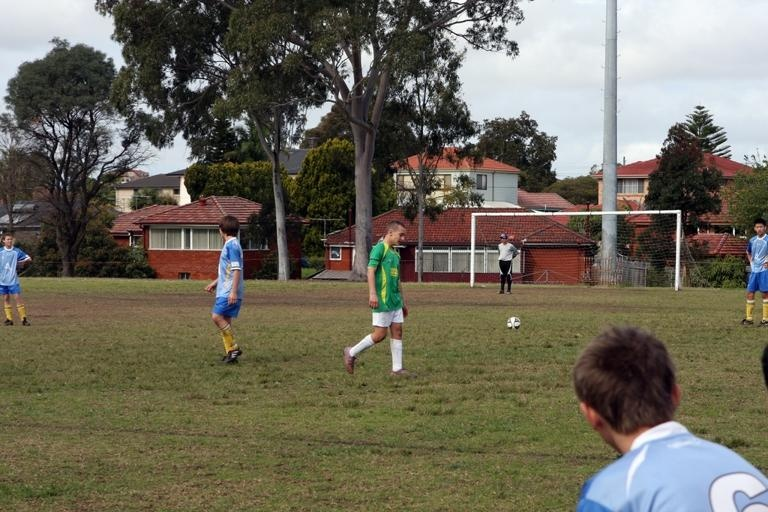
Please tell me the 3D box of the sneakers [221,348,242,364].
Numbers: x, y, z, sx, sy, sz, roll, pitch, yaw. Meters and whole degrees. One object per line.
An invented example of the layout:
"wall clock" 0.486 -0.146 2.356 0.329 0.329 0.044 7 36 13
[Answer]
"sneakers" -4.021 2.667 28.739 0.618 0.281 0.229 -26 -35 13

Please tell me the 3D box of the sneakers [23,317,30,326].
"sneakers" -10.977 2.057 33.884 0.263 0.182 0.474 -1 21 -12

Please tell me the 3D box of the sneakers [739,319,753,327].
"sneakers" 10.666 2.072 33.645 0.157 0.194 0.429 2 2 -13

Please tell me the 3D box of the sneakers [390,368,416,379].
"sneakers" 0.334 2.990 27.729 0.512 0.206 0.246 1 1 3

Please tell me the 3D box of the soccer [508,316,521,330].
"soccer" 3.653 2.063 32.874 0.349 0.357 0.358 3 26 35
